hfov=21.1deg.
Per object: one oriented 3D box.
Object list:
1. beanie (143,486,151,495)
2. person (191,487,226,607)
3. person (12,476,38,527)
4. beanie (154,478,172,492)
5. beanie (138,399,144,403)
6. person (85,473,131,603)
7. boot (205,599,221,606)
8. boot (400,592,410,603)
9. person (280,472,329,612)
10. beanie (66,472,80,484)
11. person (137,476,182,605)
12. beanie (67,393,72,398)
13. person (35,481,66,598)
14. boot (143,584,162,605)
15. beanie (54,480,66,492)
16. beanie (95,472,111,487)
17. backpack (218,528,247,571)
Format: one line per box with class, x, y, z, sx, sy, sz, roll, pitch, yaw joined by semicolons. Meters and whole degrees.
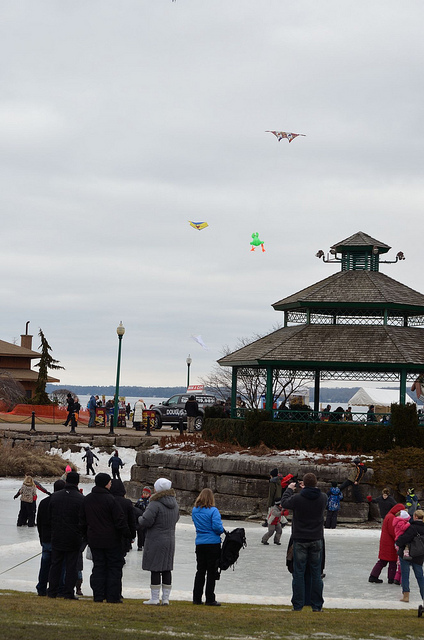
beanie;-1.091;2.979;19.774;0.113;0.136;0.146;2;2;2
person;-0.027;2.968;14.859;0.430;1.491;0.664;2;-7;5
person;-3.655;3.616;22.560;0.421;1.024;1.561;4;-8;-9
beanie;-0.613;2.102;14.554;0.196;0.157;0.147;8;11;36
beanie;-2.836;3.344;46.732;0.174;0.204;0.121;-2;0;29
person;-1.267;2.780;14.139;0.572;1.451;0.507;3;-7;2
boot;0.036;3.681;14.788;0.184;0.084;0.067;2;1;-12
boot;2.719;3.874;15.917;0.070;0.145;0.153;2;6;-13
person;1.211;2.931;14.919;0.661;1.814;0.626;1;-10;4
beanie;-1.741;2.022;14.495;0.129;0.160;0.170;2;5;-2
person;-0.669;2.830;14.506;0.471;1.588;0.749;3;-7;3
beanie;-5.363;2.894;43.464;0.156;0.098;0.157;0;-4;7
person;-2.032;2.818;14.648;0.306;1.458;0.594;6;-8;-21
boot;-0.686;3.505;14.515;0.273;0.278;0.144;4;-2;28
beanie;-1.961;2.176;14.926;0.104;0.141;0.139;2;-7;-1
beanie;-1.311;1.977;14.124;0.137;0.160;0.172;2;18;27
backpack;0.267;2.961;14.693;0.314;0.538;0.399;3;-7;0
